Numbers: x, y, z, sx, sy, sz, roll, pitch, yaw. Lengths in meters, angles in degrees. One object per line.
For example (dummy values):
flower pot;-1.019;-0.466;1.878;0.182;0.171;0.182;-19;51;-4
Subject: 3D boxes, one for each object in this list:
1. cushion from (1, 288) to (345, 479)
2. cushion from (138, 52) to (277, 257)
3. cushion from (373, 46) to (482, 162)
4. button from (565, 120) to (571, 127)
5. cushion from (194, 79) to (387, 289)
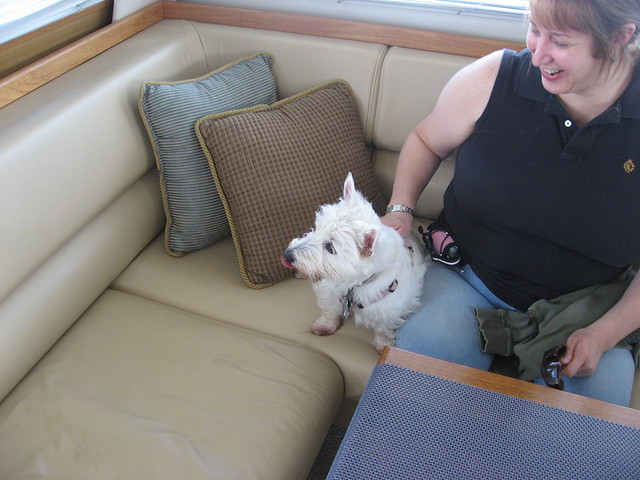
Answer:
cushion;-0.429;0.476;1.426;0.933;0.159;0.592;9;54;8
cushion;-0.393;-0.282;1.676;0.199;0.567;0.545;8;30;45
cushion;0.307;-0.531;1.820;0.392;0.379;0.378;13;11;-9
button;0.648;-0.305;1.267;0.009;0.014;0.016;-28;56;-18
cushion;-0.148;-0.122;1.755;0.690;0.679;0.204;-23;10;-31
